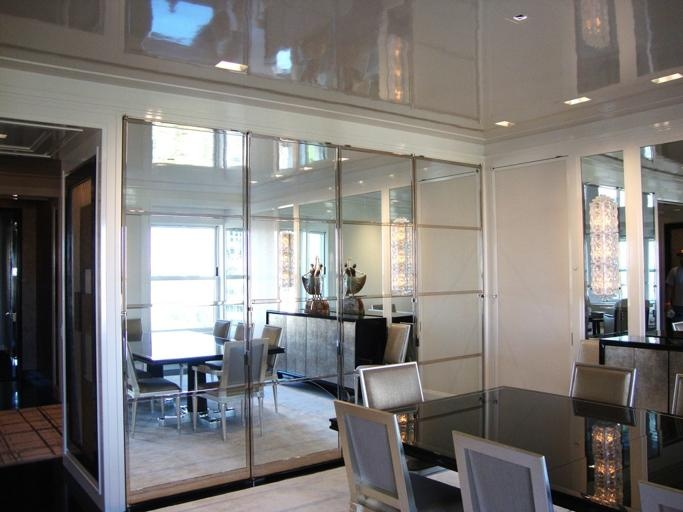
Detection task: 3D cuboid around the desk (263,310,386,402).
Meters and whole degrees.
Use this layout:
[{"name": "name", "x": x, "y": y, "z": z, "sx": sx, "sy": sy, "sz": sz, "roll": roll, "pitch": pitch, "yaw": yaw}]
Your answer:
[{"name": "desk", "x": -0.208, "y": 0.880, "z": 5.025, "sx": 1.097, "sy": 0.724, "sz": 0.398, "roll": 1, "pitch": 3, "yaw": 38}]

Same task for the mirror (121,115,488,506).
[{"name": "mirror", "x": -0.433, "y": 0.406, "z": 4.314, "sx": 3.040, "sy": 2.539, "sz": 0.050, "roll": -1, "pitch": -2, "yaw": -33}]

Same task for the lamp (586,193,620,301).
[{"name": "lamp", "x": 2.523, "y": -0.107, "z": 5.065, "sx": 0.072, "sy": 1.028, "sz": 0.291, "roll": -1, "pitch": -1, "yaw": -33}]

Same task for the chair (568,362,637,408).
[{"name": "chair", "x": 1.811, "y": 0.880, "z": 3.643, "sx": 0.317, "sy": 0.320, "sz": 0.457, "roll": 10, "pitch": 9, "yaw": 40}]
